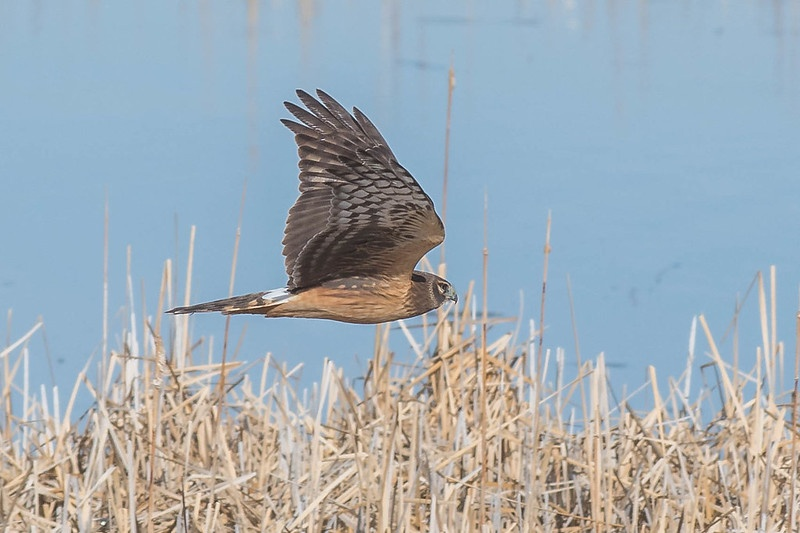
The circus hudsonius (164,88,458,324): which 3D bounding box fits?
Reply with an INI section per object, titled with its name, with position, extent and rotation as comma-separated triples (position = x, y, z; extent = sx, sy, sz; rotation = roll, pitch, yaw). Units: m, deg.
[circus hudsonius]
position = -0.481, -0.184, 11.260
extent = 2.089, 1.510, 2.952
rotation = 11, -8, 6
